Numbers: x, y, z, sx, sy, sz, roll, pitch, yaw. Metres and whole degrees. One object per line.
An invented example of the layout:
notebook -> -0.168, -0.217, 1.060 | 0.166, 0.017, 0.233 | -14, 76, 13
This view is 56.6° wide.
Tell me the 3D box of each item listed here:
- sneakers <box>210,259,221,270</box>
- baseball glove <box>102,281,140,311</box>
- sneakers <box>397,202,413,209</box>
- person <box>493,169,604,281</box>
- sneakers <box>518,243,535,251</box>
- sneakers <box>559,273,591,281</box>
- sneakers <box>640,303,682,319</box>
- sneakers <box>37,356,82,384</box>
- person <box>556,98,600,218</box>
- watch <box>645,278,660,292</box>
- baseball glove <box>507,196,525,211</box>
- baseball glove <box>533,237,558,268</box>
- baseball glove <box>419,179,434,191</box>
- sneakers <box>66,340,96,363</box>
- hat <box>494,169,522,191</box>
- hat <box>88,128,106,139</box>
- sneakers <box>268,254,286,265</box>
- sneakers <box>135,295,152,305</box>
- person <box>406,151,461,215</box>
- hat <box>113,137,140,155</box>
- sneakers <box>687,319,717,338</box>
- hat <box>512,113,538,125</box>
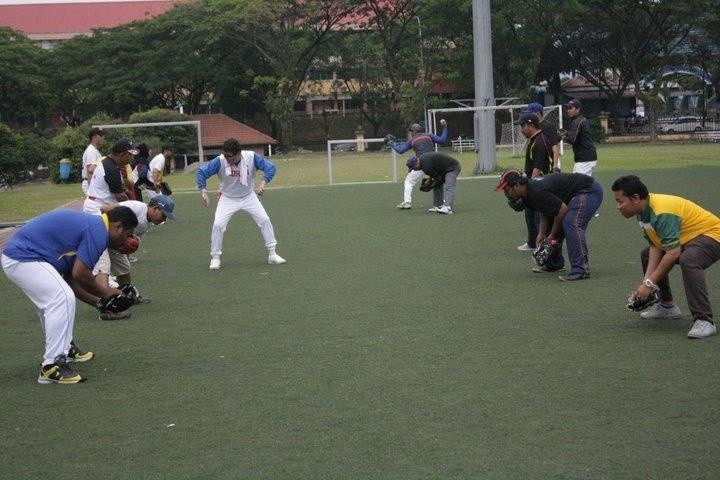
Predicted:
sneakers -> -2.260, 0.367, 10.376 | 0.173, 0.160, 0.324 | -5, 14, -10
baseball glove -> -2.491, 0.613, 6.909 | 0.316, 0.141, 0.236 | -24, 14, -1
sneakers -> 1.091, -0.826, 16.213 | 0.357, 0.151, 0.129 | 1, 8, 7
person -> 2.656, -0.206, 9.374 | 1.509, 1.542, 1.084 | -3, 2, 8
sneakers -> 2.671, 0.111, 10.851 | 0.102, 0.105, 0.248 | 0, 5, -12
sneakers -> 2.873, 0.475, 8.909 | 0.410, 0.101, 0.277 | 1, 15, 15
sneakers -> 3.296, 0.760, 7.380 | 0.493, 0.210, 0.181 | 1, 4, 9
sneakers -> -2.907, 1.260, 6.440 | 0.515, 0.255, 0.192 | 0, 1, 4
person -> 4.255, -1.636, 12.999 | 0.690, 2.147, 0.770 | -19, 24, -26
watch -> 2.955, 0.458, 6.751 | 0.079, 0.108, 0.117 | -49, 28, -15
baseball glove -> 2.128, -0.488, 9.111 | 0.218, 0.216, 0.158 | -1, -6, 24
baseball glove -> 2.524, 0.178, 9.143 | 0.185, 0.429, 0.253 | 23, 25, -52
baseball glove -> 1.542, -1.247, 15.356 | 0.319, 0.328, 0.229 | 4, 17, -15
sneakers -> -2.845, 1.182, 6.905 | 0.332, 0.153, 0.127 | 1, 2, 2
hat -> 1.967, -0.797, 8.897 | 0.384, 0.199, 0.260 | -14, 11, -5
hat -> -4.530, -1.841, 11.493 | 0.212, 0.219, 0.172 | 8, 6, -37
sneakers -> -1.324, 0.305, 10.593 | 0.273, 0.130, 0.136 | 2, 8, 22
sneakers -> -2.787, 0.773, 8.575 | 0.172, 0.073, 0.122 | -1, 10, 3
person -> 1.715, -1.301, 15.157 | 0.965, 1.404, 1.092 | -15, 19, -40
hat -> -3.194, -1.268, 9.123 | 0.327, 0.175, 0.229 | -3, 18, -31
sneakers -> 3.484, 0.895, 6.739 | 0.360, 0.142, 0.127 | 3, -34, -38
hat -> 2.816, -2.022, 11.167 | 0.329, 0.215, 0.512 | 2, 15, 17
